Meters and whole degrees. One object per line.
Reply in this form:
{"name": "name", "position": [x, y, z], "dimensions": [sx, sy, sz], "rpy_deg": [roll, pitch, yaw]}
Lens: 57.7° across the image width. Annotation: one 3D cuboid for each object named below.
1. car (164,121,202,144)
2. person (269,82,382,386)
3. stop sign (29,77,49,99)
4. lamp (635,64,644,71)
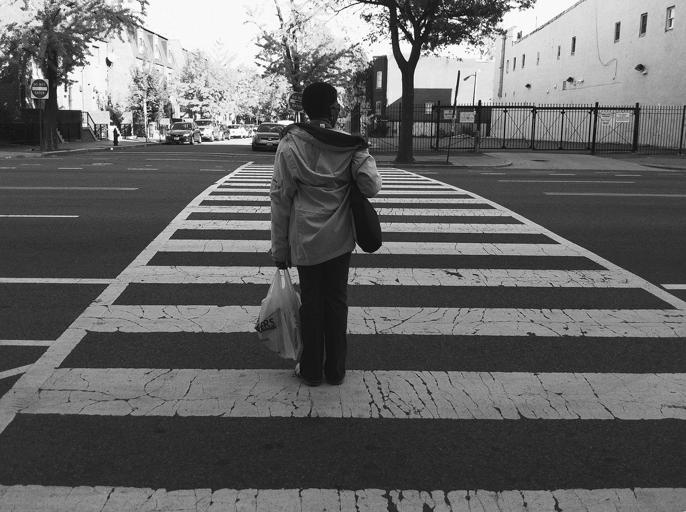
{"name": "car", "position": [-12.955, -9.879, 50.224], "dimensions": [1.833, 1.798, 4.202], "rpy_deg": [1, 14, 2]}
{"name": "person", "position": [-0.161, 0.005, 4.913], "dimensions": [0.816, 2.043, 0.349], "rpy_deg": [-1, 11, -8]}
{"name": "stop sign", "position": [-14.364, -7.858, 29.310], "dimensions": [0.691, 0.836, 0.668], "rpy_deg": [-8, 15, -35]}
{"name": "lamp", "position": [18.701, -11.811, 39.213], "dimensions": [0.406, 0.585, 0.447], "rpy_deg": [-4, 10, 4]}
